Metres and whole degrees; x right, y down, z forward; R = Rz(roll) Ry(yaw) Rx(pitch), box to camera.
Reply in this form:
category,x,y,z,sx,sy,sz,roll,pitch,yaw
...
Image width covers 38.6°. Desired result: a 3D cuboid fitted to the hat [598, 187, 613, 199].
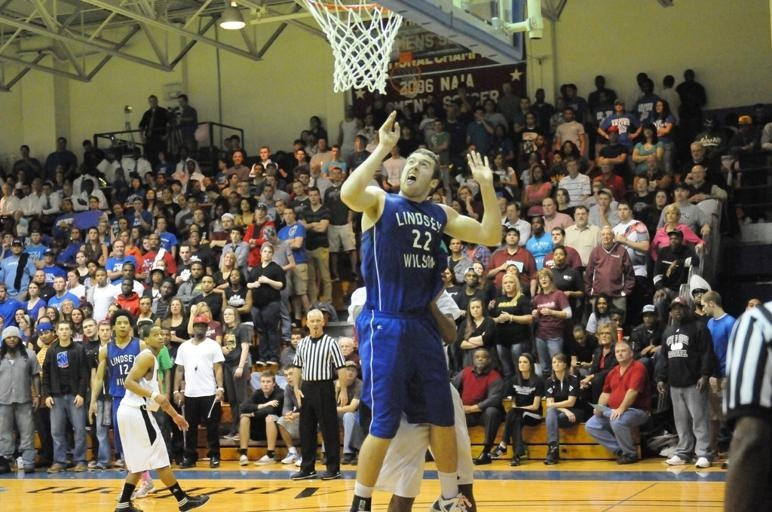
category,x,y,z,sx,sy,sz,roll,pitch,yaw
hat,4.476,-1.304,22.427,0.179,0.130,0.256,-3,-45,43

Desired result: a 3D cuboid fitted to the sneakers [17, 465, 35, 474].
category,x,y,z,sx,sy,sz,roll,pitch,yaw
sneakers,-7.195,4.253,22.021,0.143,0.177,0.396,8,-15,-40

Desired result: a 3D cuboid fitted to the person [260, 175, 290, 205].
category,x,y,z,sx,sy,sz,roll,pitch,yaw
person,-2.571,-1.512,25.200,0.742,0.702,0.418,-4,-8,-6

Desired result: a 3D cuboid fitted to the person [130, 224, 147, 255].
category,x,y,z,sx,sy,sz,roll,pitch,yaw
person,-5.662,-0.362,25.236,0.354,0.395,1.110,-11,34,-9

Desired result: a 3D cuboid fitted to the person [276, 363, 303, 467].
category,x,y,z,sx,sy,sz,roll,pitch,yaw
person,-1.819,3.029,21.133,0.646,1.884,0.370,-5,-3,42

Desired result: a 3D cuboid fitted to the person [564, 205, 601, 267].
category,x,y,z,sx,sy,sz,roll,pitch,yaw
person,3.931,-0.076,22.268,0.819,1.919,0.519,0,-8,13

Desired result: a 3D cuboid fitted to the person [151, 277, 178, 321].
category,x,y,z,sx,sy,sz,roll,pitch,yaw
person,-4.655,0.917,23.186,0.710,0.998,0.327,7,-35,0

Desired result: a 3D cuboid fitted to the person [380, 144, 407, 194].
category,x,y,z,sx,sy,sz,roll,pitch,yaw
person,0.174,-2.033,25.134,0.591,1.083,0.586,-2,9,-23

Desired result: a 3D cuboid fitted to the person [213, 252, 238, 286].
category,x,y,z,sx,sy,sz,roll,pitch,yaw
person,-3.368,0.270,23.259,0.534,0.733,0.374,7,-16,1

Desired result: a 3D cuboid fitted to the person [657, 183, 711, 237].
category,x,y,z,sx,sy,sz,roll,pitch,yaw
person,5.907,-0.800,21.978,1.156,1.366,0.673,-4,-3,31

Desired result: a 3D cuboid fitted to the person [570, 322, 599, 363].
category,x,y,z,sx,sy,sz,roll,pitch,yaw
person,3.725,1.675,20.898,0.509,0.756,0.679,-8,-2,30

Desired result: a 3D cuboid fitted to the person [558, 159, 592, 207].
category,x,y,z,sx,sy,sz,roll,pitch,yaw
person,3.973,-1.511,23.465,0.679,1.144,0.657,-2,4,14

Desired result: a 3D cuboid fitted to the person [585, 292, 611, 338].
category,x,y,z,sx,sy,sz,roll,pitch,yaw
person,4.091,1.180,20.992,0.573,0.871,0.642,-2,-1,5

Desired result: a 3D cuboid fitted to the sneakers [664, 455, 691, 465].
category,x,y,z,sx,sy,sz,roll,pitch,yaw
sneakers,5.163,3.606,19.574,0.374,0.168,0.162,4,-8,-6

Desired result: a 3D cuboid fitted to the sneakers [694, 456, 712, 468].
category,x,y,z,sx,sy,sz,roll,pitch,yaw
sneakers,5.588,3.607,19.320,0.351,0.132,0.181,-3,-3,-14

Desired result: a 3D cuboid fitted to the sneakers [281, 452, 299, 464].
category,x,y,z,sx,sy,sz,roll,pitch,yaw
sneakers,-1.805,3.859,21.097,0.385,0.187,0.167,2,-7,-3

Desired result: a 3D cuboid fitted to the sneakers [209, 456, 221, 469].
category,x,y,z,sx,sy,sz,roll,pitch,yaw
sneakers,-3.291,3.940,21.166,0.186,0.205,0.234,-3,-3,-9

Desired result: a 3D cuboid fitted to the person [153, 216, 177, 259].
category,x,y,z,sx,sy,sz,roll,pitch,yaw
person,-5.077,-0.292,25.085,0.552,1.206,0.328,-2,3,6

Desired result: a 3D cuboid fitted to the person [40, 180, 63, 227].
category,x,y,z,sx,sy,sz,roll,pitch,yaw
person,-8.771,-1.392,28.655,0.624,1.087,0.749,-9,-3,37

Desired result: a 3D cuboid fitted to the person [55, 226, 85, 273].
category,x,y,z,sx,sy,sz,roll,pitch,yaw
person,-7.584,-0.235,26.942,0.494,1.166,0.373,2,29,-12

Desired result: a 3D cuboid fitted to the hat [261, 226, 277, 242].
category,x,y,z,sx,sy,sz,roll,pitch,yaw
hat,-2.490,-0.476,23.293,0.327,0.346,0.256,4,-7,25

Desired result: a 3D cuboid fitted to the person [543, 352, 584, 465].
category,x,y,z,sx,sy,sz,roll,pitch,yaw
person,3.246,2.786,20.255,0.738,1.300,0.491,-4,-2,10

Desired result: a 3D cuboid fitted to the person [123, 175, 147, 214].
category,x,y,z,sx,sy,sz,roll,pitch,yaw
person,-6.425,-1.433,28.398,0.425,1.215,0.321,-11,18,-36

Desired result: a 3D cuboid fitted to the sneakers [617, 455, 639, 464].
category,x,y,z,sx,sy,sz,roll,pitch,yaw
sneakers,4.329,3.646,19.835,0.397,0.179,0.150,3,-5,-8

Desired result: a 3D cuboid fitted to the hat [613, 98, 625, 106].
category,x,y,z,sx,sy,sz,roll,pitch,yaw
hat,5.311,-3.518,25.170,0.154,0.162,0.201,1,-16,7

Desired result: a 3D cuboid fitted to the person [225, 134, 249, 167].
category,x,y,z,sx,sy,sz,roll,pitch,yaw
person,-4.012,-2.826,29.399,0.580,0.699,1.927,-14,18,-8

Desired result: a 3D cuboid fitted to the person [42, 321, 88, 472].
category,x,y,z,sx,sy,sz,roll,pitch,yaw
person,-6.393,2.778,21.957,0.948,2.927,0.466,-4,-2,18

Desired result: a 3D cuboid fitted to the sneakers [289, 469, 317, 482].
category,x,y,z,sx,sy,sz,roll,pitch,yaw
sneakers,-1.495,3.954,19.909,0.504,0.210,0.177,4,-8,-5

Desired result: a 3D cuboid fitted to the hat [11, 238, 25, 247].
category,x,y,z,sx,sy,sz,roll,pitch,yaw
hat,-8.538,-0.322,25.561,0.176,0.151,0.265,-2,-21,-18

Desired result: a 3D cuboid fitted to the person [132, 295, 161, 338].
category,x,y,z,sx,sy,sz,roll,pitch,yaw
person,-4.925,1.280,22.562,0.580,1.000,0.547,1,2,1

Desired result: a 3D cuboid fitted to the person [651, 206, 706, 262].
category,x,y,z,sx,sy,sz,roll,pitch,yaw
person,5.737,-0.422,21.511,0.736,1.073,0.357,-19,-40,29

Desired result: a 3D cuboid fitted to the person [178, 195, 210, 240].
category,x,y,z,sx,sy,sz,roll,pitch,yaw
person,-4.441,-0.867,25.408,0.703,1.285,0.709,-5,-41,-4

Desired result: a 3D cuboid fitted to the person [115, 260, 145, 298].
category,x,y,z,sx,sy,sz,roll,pitch,yaw
person,-5.551,0.515,24.000,0.562,0.998,0.355,-7,-35,-7

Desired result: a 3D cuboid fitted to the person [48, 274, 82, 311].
category,x,y,z,sx,sy,sz,roll,pitch,yaw
person,-7.121,0.838,24.256,0.803,0.826,0.393,-5,-8,7

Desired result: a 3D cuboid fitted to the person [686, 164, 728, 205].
category,x,y,z,sx,sy,sz,roll,pitch,yaw
person,6.530,-1.438,22.461,0.738,0.622,0.419,-10,-12,27

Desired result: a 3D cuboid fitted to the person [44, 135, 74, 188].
category,x,y,z,sx,sy,sz,roll,pitch,yaw
person,-9.093,-2.359,30.991,0.831,1.954,0.651,-3,5,-13

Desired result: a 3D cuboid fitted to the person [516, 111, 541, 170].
category,x,y,z,sx,sy,sz,roll,pitch,yaw
person,3.393,-2.761,25.808,0.446,0.416,1.342,1,-17,17

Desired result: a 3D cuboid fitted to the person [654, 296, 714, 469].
category,x,y,z,sx,sy,sz,roll,pitch,yaw
person,5.361,2.237,19.669,1.010,2.162,0.673,-4,-3,24

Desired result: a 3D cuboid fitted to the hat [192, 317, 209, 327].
category,x,y,z,sx,sy,sz,roll,pitch,yaw
hat,-3.604,1.284,21.475,0.208,0.168,0.345,4,-7,-5

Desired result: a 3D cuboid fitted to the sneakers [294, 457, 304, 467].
category,x,y,z,sx,sy,sz,roll,pitch,yaw
sneakers,-1.669,3.897,20.864,0.121,0.138,0.547,-3,-3,-10

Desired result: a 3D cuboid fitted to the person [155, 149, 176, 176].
category,x,y,z,sx,sy,sz,roll,pitch,yaw
person,-5.892,-2.519,29.475,0.541,0.793,1.195,-3,-3,-11

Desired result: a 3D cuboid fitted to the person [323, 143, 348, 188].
category,x,y,z,sx,sy,sz,roll,pitch,yaw
person,-1.198,-2.153,25.789,0.640,0.906,0.664,0,2,-22

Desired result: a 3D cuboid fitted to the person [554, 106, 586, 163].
category,x,y,z,sx,sy,sz,roll,pitch,yaw
person,4.227,-2.684,25.581,0.648,1.558,0.395,0,-17,8

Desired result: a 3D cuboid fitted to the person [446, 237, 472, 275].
category,x,y,z,sx,sy,sz,roll,pitch,yaw
person,1.434,0.017,21.510,0.523,0.851,0.470,-12,-7,1

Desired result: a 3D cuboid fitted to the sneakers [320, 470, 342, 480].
category,x,y,z,sx,sy,sz,roll,pitch,yaw
sneakers,-0.984,3.933,19.854,0.412,0.194,0.152,6,-8,-16

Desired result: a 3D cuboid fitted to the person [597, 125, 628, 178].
category,x,y,z,sx,sy,sz,roll,pitch,yaw
person,5.027,-2.246,24.482,0.601,1.253,0.686,-2,-8,43

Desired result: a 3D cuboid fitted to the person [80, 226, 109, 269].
category,x,y,z,sx,sy,sz,roll,pitch,yaw
person,-6.790,-0.217,25.609,0.646,1.003,0.638,-1,-8,-15

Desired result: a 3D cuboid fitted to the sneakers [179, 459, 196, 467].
category,x,y,z,sx,sy,sz,roll,pitch,yaw
sneakers,-3.806,3.985,21.214,0.255,0.115,0.134,10,-6,-10

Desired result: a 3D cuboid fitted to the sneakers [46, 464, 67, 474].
category,x,y,z,sx,sy,sz,roll,pitch,yaw
sneakers,-6.544,4.204,21.817,0.337,0.149,0.147,-11,-12,28

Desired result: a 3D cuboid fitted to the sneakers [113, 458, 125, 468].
category,x,y,z,sx,sy,sz,roll,pitch,yaw
sneakers,-5.229,4.071,21.653,0.146,0.163,0.348,3,-1,-2

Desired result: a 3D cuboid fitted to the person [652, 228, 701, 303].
category,x,y,z,sx,sy,sz,roll,pitch,yaw
person,5.552,0.465,21.462,0.827,2.095,0.578,3,21,16

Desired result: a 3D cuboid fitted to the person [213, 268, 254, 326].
category,x,y,z,sx,sy,sz,roll,pitch,yaw
person,-3.196,0.883,22.992,0.876,1.343,0.631,-4,20,-26

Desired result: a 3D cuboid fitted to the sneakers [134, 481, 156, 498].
category,x,y,z,sx,sy,sz,roll,pitch,yaw
sneakers,-4.261,4.118,19.492,0.153,0.204,0.465,-4,-10,10

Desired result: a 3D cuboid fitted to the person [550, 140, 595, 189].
category,x,y,z,sx,sy,sz,roll,pitch,yaw
person,4.257,-1.998,24.455,0.603,1.267,0.967,-22,12,-30

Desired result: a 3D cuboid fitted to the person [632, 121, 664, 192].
category,x,y,z,sx,sy,sz,roll,pitch,yaw
person,5.699,-1.996,24.160,0.611,1.897,0.562,-2,22,6

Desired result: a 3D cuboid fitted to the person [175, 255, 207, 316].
category,x,y,z,sx,sy,sz,roll,pitch,yaw
person,-4.145,0.891,23.565,0.613,1.503,0.499,5,1,-3

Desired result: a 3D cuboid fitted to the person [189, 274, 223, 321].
category,x,y,z,sx,sy,sz,roll,pitch,yaw
person,-3.746,0.950,22.924,0.711,1.062,0.722,0,-4,22

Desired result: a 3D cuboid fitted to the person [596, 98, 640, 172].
category,x,y,z,sx,sy,sz,roll,pitch,yaw
person,5.346,-2.432,24.759,0.911,2.388,0.523,-4,-24,11

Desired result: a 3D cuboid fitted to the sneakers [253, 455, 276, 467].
category,x,y,z,sx,sy,sz,roll,pitch,yaw
sneakers,-2.309,3.932,21.198,0.370,0.168,0.164,3,-9,-6

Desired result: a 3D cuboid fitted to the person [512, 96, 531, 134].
category,x,y,z,sx,sy,sz,roll,pitch,yaw
person,3.336,-3.211,26.499,0.455,1.329,0.360,1,2,6
